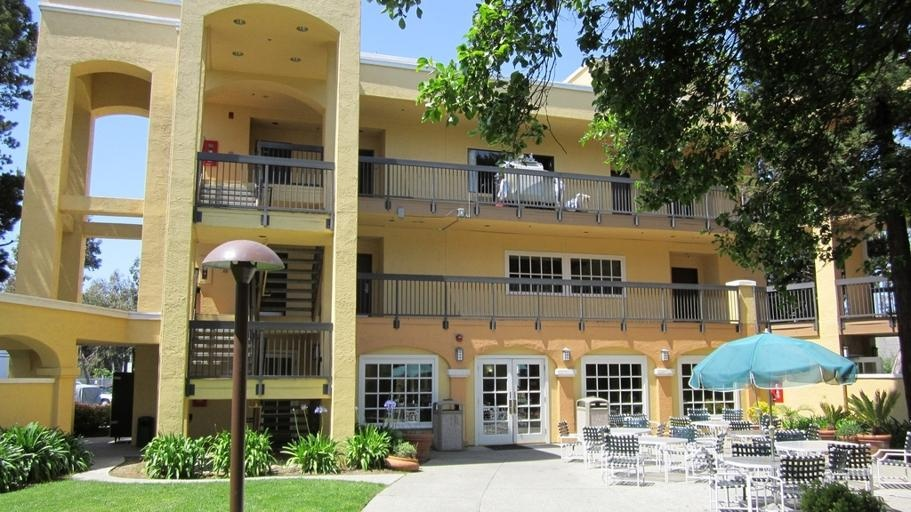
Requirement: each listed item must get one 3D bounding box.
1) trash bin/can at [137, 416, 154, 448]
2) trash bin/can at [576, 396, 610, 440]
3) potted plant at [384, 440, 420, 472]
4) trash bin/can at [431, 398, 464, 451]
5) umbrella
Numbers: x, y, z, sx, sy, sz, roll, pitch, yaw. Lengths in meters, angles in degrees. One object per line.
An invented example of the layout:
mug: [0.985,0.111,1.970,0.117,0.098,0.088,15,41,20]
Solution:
trash bin/can: [-11.508,6.554,26.618,0.788,1.096,0.572,-1,-14,-4]
trash bin/can: [5.280,6.010,26.195,0.819,1.359,0.785,-2,-14,8]
potted plant: [-1.581,6.193,22.043,0.876,0.612,0.849,6,-12,-7]
trash bin/can: [-0.259,5.993,25.197,1.017,1.723,0.677,-1,-14,-5]
umbrella: [8.762,3.754,20.016,3.801,3.131,3.770,-5,-3,2]
